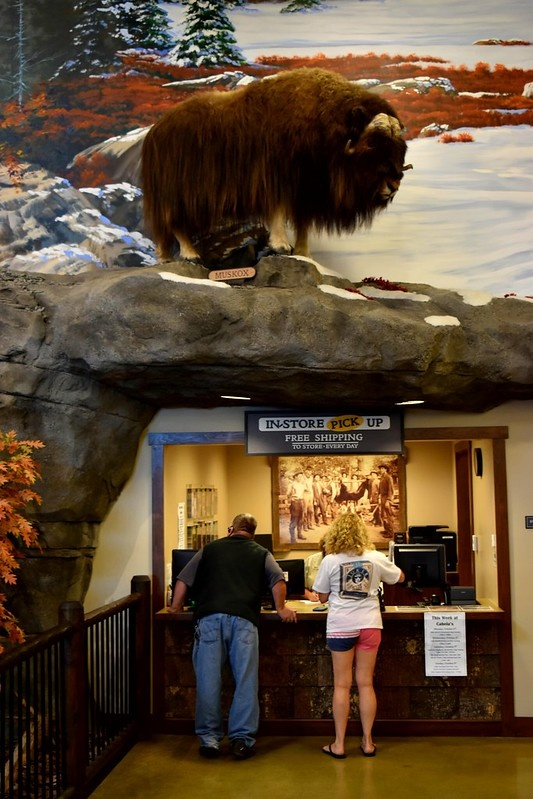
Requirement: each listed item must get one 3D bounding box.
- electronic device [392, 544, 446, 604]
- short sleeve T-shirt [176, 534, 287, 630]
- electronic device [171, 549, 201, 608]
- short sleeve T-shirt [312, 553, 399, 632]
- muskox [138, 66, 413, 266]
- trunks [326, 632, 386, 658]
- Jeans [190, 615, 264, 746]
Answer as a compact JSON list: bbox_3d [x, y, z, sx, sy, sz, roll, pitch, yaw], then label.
[{"bbox_3d":[1.150,1.336,5.452,0.477,0.463,0.261,-1,-2,4],"label":"electronic device"},{"bbox_3d":[-0.240,1.195,4.767,0.694,0.613,0.314,3,-25,1],"label":"short sleeve T-shirt"},{"bbox_3d":[-0.556,1.177,4.997,0.275,0.260,0.159,7,-10,-34],"label":"electronic device"},{"bbox_3d":[0.590,1.265,4.671,0.571,0.522,0.400,0,-22,1],"label":"short sleeve T-shirt"},{"bbox_3d":[0.171,-1.764,5.603,2.353,1.612,0.976,-1,4,5],"label":"muskox"},{"bbox_3d":[0.554,1.518,4.539,0.245,0.116,0.169,-5,-13,-4],"label":"trunks"},{"bbox_3d":[-0.275,1.795,4.639,0.421,0.886,0.235,-1,-3,2],"label":"Jeans"}]
